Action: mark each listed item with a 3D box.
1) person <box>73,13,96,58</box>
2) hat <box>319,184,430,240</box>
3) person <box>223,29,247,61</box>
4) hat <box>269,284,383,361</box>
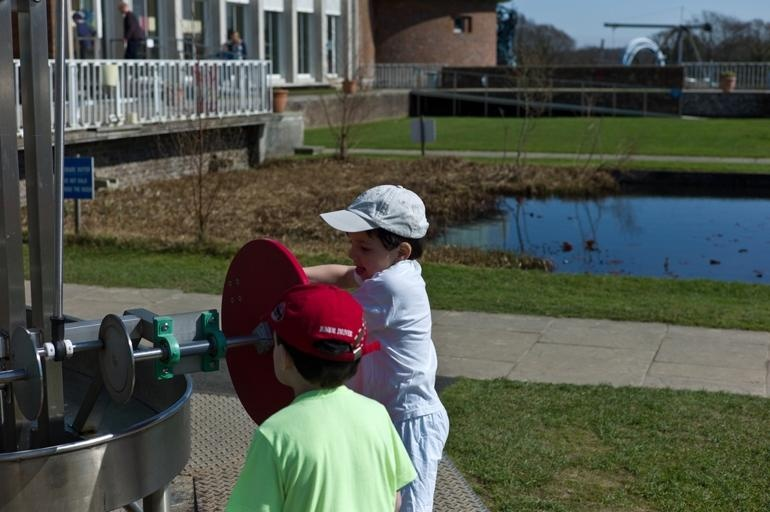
[{"bbox_3d":[-7.123,-5.249,22.096,0.481,1.028,0.285,-6,13,-22],"label":"person"},{"bbox_3d":[-0.036,-0.256,5.252,0.455,0.243,0.316,6,7,-18],"label":"hat"},{"bbox_3d":[-4.116,-5.731,25.456,0.579,0.721,1.222,-3,15,-10],"label":"person"},{"bbox_3d":[-0.313,0.310,4.576,0.415,0.234,0.323,35,34,13],"label":"hat"}]
